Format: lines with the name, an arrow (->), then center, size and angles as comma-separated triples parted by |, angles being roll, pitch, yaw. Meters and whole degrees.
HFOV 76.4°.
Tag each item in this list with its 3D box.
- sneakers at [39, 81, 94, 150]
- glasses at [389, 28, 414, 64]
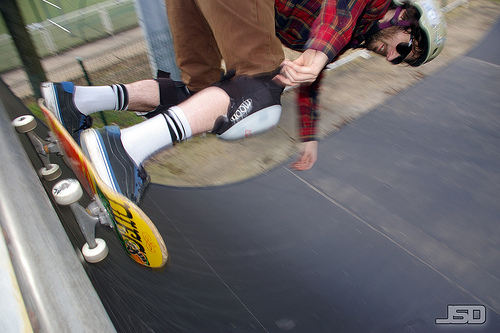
sneakers -> -1.087, -0.308, 1.938 | 0.208, 0.471, 0.140 | -14, 43, -24
glasses -> 0.864, -0.685, 1.834 | 0.107, 0.143, 0.085 | -20, 38, -11
